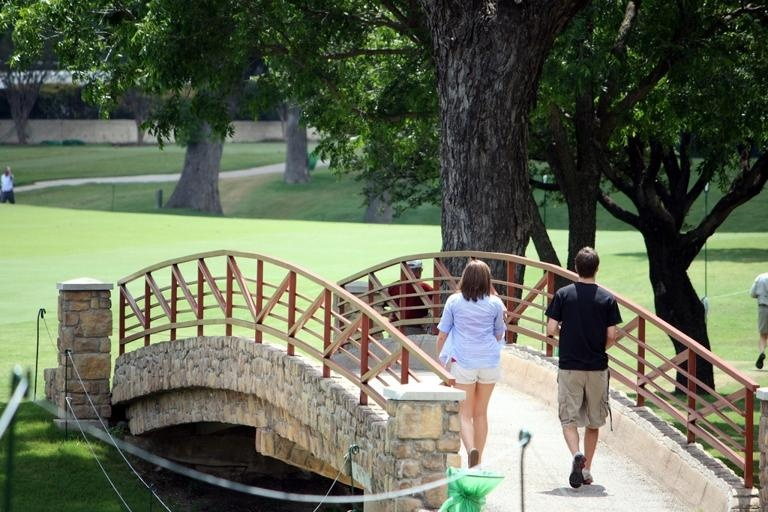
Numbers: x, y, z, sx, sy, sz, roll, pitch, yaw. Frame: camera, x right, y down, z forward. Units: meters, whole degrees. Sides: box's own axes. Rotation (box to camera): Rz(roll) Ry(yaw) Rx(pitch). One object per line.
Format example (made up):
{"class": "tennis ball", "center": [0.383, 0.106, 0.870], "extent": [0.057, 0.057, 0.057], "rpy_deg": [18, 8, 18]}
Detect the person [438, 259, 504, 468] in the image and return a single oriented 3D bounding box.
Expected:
{"class": "person", "center": [1.659, 2.114, 24.916], "extent": [1.213, 4.002, 0.614], "rpy_deg": [3, 11, 3]}

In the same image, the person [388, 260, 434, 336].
{"class": "person", "center": [0.743, 1.109, 31.373], "extent": [1.192, 1.997, 1.137], "rpy_deg": [-1, -1, -27]}

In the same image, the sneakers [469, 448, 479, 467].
{"class": "sneakers", "center": [1.660, 3.755, 23.869], "extent": [0.127, 0.415, 0.154], "rpy_deg": [2, 6, 0]}
